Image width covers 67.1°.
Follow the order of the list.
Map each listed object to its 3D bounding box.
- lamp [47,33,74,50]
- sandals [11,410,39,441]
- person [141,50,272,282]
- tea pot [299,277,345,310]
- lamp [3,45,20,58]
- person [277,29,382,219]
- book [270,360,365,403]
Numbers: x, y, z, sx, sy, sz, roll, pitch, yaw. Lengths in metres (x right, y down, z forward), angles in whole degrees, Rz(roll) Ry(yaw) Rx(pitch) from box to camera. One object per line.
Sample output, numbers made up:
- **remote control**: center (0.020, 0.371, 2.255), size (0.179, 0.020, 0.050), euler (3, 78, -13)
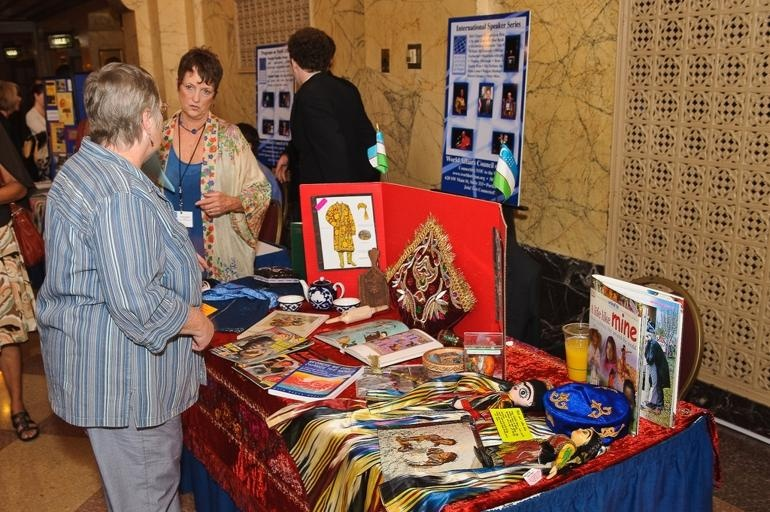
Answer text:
- **lamp**: center (-7.436, -4.957, 13.372), size (0.356, 0.323, 0.582), euler (1, 5, -2)
- **sandals**: center (-2.286, 1.083, 3.719), size (0.096, 0.114, 0.275), euler (-13, 20, -43)
- **person**: center (-1.129, -0.312, 3.584), size (0.750, 1.741, 0.703), euler (5, 47, -6)
- **tea pot**: center (-0.306, 0.176, 2.825), size (0.221, 0.164, 0.144), euler (2, 14, 9)
- **lamp**: center (-9.751, -5.355, 15.170), size (0.440, 0.310, 0.115), euler (1, 11, 5)
- **person**: center (-0.410, -1.156, 4.453), size (0.653, 1.162, 0.477), euler (0, 11, -2)
- **book**: center (-0.264, 0.483, 2.242), size (0.305, 0.074, 0.224), euler (5, 13, 22)
